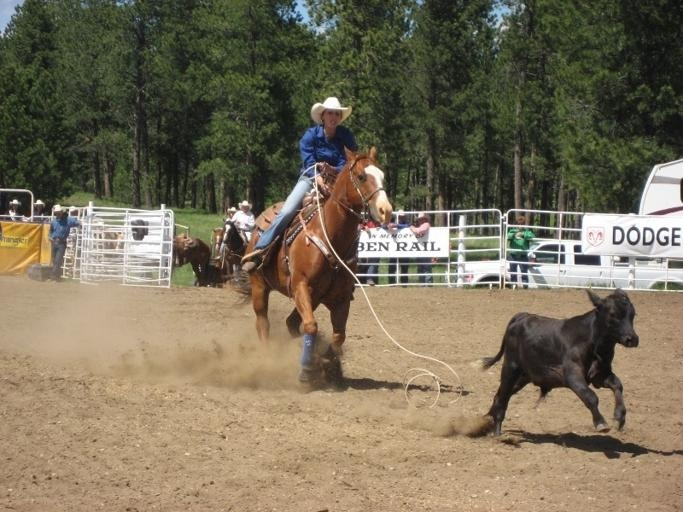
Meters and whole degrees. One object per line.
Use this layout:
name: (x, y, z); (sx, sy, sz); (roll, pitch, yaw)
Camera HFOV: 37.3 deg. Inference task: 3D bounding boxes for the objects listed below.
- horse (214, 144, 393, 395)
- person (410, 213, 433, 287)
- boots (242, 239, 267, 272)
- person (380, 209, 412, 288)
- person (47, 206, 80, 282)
horse: (-0.511, 0.273, 27.119); (4.202, 4.305, 1.620); (1, -1, 43)
person: (2.952, -0.296, 37.242); (0.777, 2.597, 1.342); (2, -1, 4)
boots: (-2.340, 0.023, 27.769); (0.779, 0.528, 0.308); (-44, -5, 41)
person: (2.102, -0.214, 37.961); (1.012, 3.167, 0.910); (-5, 10, -37)
person: (-10.352, -0.543, 37.656); (0.805, 2.904, 0.760); (0, 10, -32)
